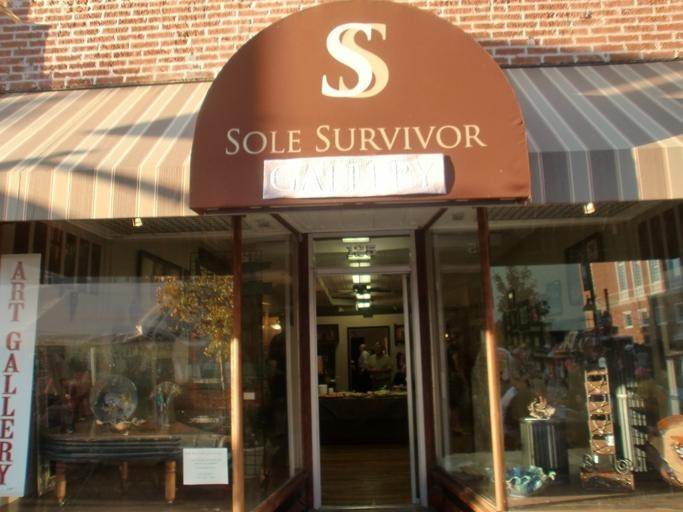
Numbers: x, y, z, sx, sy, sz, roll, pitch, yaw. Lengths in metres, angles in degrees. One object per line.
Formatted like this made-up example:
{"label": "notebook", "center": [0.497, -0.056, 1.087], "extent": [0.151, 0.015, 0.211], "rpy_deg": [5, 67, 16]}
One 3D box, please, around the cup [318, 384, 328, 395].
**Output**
{"label": "cup", "center": [-0.309, 2.405, 12.943], "extent": [0.195, 0.196, 0.203], "rpy_deg": [-1, 0, 0]}

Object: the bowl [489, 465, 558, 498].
{"label": "bowl", "center": [1.739, 2.042, 6.519], "extent": [0.527, 0.268, 0.109], "rpy_deg": [2, -13, -28]}

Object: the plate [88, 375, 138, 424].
{"label": "plate", "center": [-2.118, 1.332, 6.698], "extent": [0.418, 0.432, 0.077], "rpy_deg": [-5, -12, 5]}
